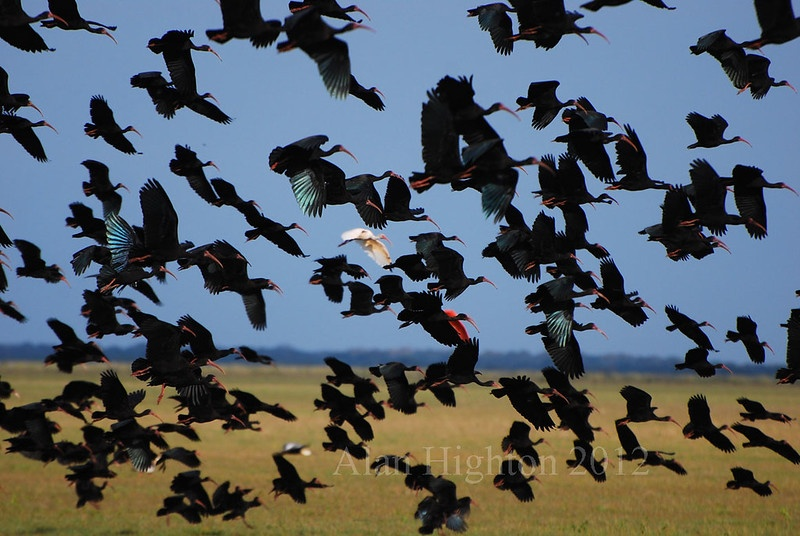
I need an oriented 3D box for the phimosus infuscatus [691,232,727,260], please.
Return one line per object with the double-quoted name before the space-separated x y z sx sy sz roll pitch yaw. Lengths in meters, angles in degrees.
"phimosus infuscatus" 8.304 -0.708 44.851 1.113 0.487 0.930 9 9 -18
